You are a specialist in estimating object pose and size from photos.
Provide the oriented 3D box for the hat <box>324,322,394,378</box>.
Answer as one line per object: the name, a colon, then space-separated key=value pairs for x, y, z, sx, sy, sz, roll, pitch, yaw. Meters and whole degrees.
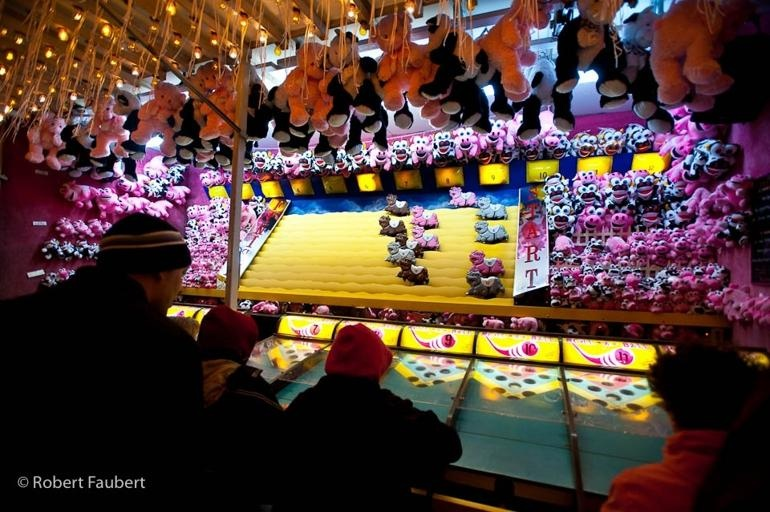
hat: x=-0.134 y=0.514 z=2.698 sx=0.355 sy=0.268 sz=0.563 roll=1 pitch=0 yaw=19

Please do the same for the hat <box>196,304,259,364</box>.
hat: x=-0.934 y=0.434 z=2.761 sx=0.351 sy=0.249 sz=0.243 roll=17 pitch=9 yaw=-19
